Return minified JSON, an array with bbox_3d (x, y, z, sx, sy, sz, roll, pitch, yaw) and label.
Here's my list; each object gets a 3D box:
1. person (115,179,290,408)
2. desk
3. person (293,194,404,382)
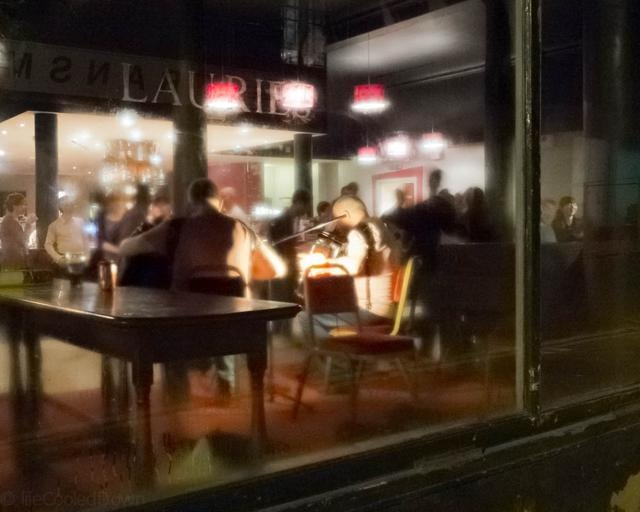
[{"bbox_3d":[-0.748,0.277,3.518,0.943,1.565,0.465,-3,32,-20],"label":"person"},{"bbox_3d":[-0.859,0.534,2.657,1.404,0.733,0.745,2,3,34],"label":"desk"},{"bbox_3d":[0.289,0.020,3.768,0.829,1.011,0.745,0,-1,25],"label":"person"}]
